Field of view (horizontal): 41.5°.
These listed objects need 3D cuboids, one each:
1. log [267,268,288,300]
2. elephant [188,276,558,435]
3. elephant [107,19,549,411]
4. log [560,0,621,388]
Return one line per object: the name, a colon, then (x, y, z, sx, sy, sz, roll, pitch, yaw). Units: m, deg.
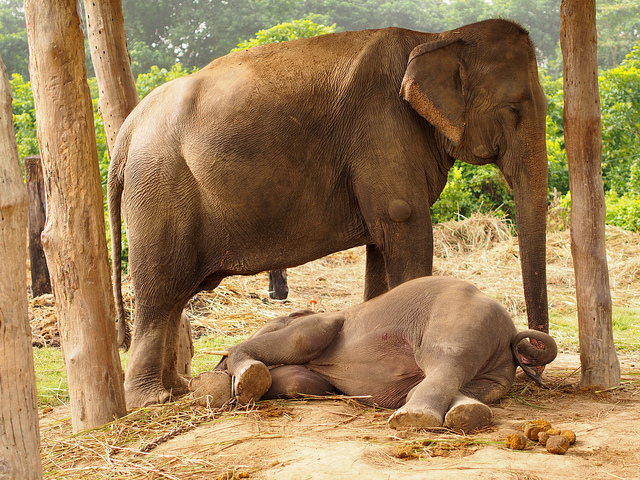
log: (-0.408, 0.450, 8.338, 0.226, 0.303, 0.238, -7, -7, 28)
elephant: (0.139, 0.649, 4.651, 2.202, 0.573, 1.089, -3, 31, 29)
elephant: (0.078, -0.170, 5.335, 2.931, 2.128, 1.325, -5, 7, -8)
log: (1.483, -0.272, 4.681, 0.235, 2.138, 0.357, -2, 6, 16)
